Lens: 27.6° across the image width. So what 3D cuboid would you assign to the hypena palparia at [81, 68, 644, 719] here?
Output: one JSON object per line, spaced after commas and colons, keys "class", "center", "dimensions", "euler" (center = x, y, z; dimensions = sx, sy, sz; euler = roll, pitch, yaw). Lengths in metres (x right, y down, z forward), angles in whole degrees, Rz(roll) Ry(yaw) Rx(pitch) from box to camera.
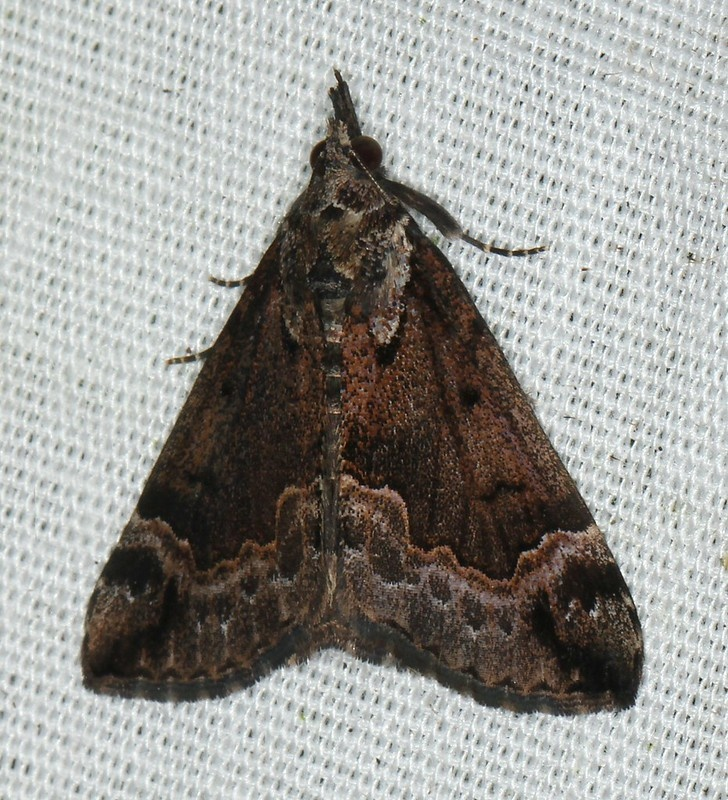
{"class": "hypena palparia", "center": [-0.011, 0.118, 3.556], "dimensions": [1.273, 0.377, 1.207], "euler": [2, 84, -2]}
